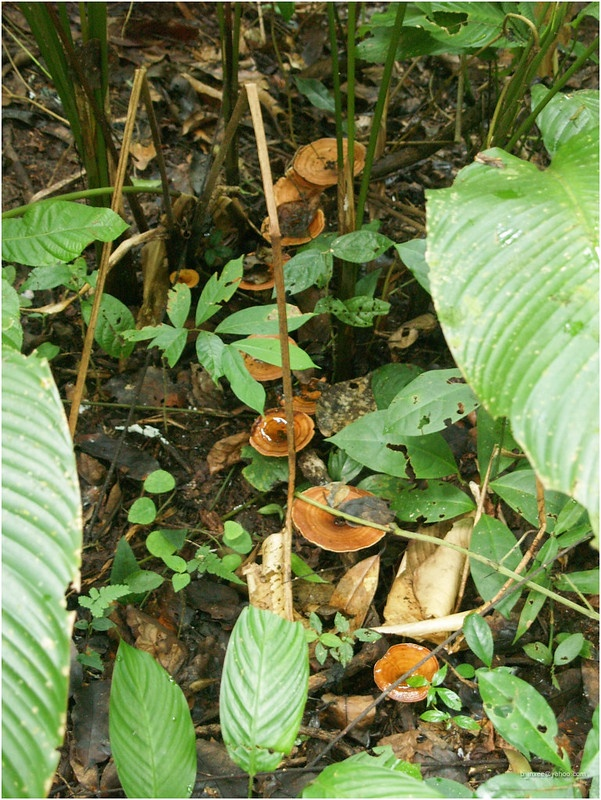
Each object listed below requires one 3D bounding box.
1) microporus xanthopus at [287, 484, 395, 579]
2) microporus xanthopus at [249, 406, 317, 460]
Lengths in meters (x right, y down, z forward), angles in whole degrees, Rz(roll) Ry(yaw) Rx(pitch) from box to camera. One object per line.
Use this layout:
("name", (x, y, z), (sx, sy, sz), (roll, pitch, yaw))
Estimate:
("microporus xanthopus", (0.105, 0.341, 2.123), (0.266, 0.077, 0.241), (-25, 48, -39))
("microporus xanthopus", (-0.062, 0.106, 2.411), (0.199, 0.098, 0.208), (8, 43, 3))
